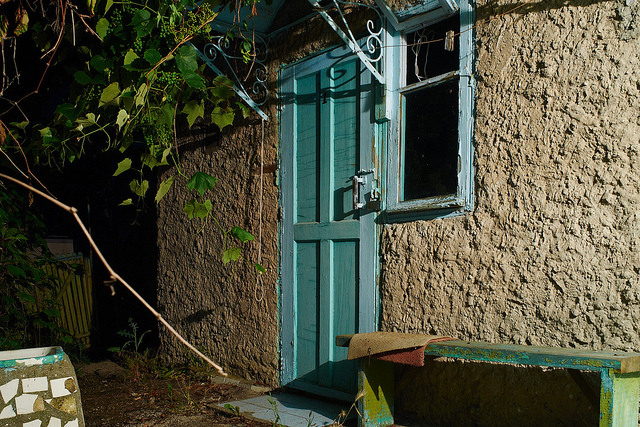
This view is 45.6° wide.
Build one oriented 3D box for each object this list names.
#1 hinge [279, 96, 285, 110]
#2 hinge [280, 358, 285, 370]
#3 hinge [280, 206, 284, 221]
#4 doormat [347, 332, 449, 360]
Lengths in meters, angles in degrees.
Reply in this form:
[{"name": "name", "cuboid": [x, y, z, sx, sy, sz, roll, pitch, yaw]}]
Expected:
[{"name": "hinge", "cuboid": [-0.386, -1.095, 7.628, 0.066, 0.134, 0.018, 0, -1, 28]}, {"name": "hinge", "cuboid": [-0.369, 1.466, 7.435, 0.015, 0.125, 0.114, -2, 2, -32]}, {"name": "hinge", "cuboid": [-0.383, 0.002, 7.552, 0.019, 0.087, 0.057, 2, -2, -25]}, {"name": "doormat", "cuboid": [0.613, 1.033, 6.325, 0.675, 0.233, 0.491, 0, -1, 42]}]
